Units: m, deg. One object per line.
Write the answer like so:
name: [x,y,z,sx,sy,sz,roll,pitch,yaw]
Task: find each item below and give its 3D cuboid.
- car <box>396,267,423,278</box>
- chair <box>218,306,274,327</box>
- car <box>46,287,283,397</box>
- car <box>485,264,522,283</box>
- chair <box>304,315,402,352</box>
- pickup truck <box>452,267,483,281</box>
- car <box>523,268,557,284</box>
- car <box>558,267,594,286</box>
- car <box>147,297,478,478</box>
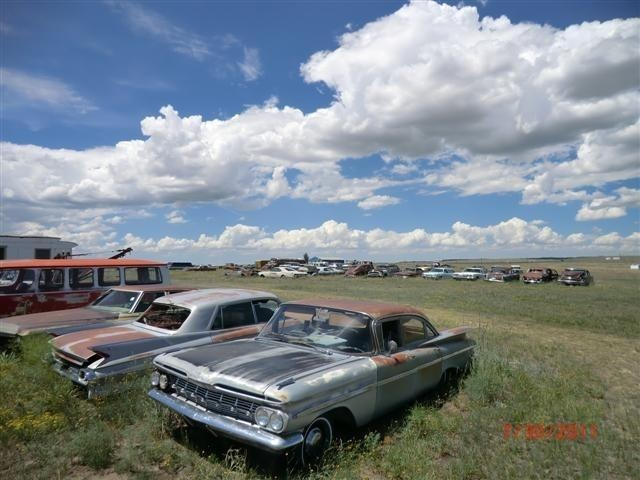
car: [11.662,4.070,50.417,2.394,1.044,4.242,-1,-2,30]
chair: [-1.472,1.450,7.692,0.750,0.187,0.401,1,3,-35]
car: [-2.630,1.638,7.207,1.762,0.848,3.052,-4,-4,44]
car: [19.376,3.484,41.120,4.964,1.607,2.068,4,-6,-38]
chair: [0.414,1.410,5.887,0.995,0.405,0.638,2,-1,35]
pickup truck: [16.290,3.648,43.279,3.028,1.175,4.053,0,-2,2]
car: [20.776,3.296,37.069,3.556,1.028,1.703,-2,4,-31]
car: [22.584,3.116,34.178,2.777,0.910,1.503,-2,2,-33]
car: [0.252,1.860,5.817,3.695,1.057,2.169,4,-7,-41]
